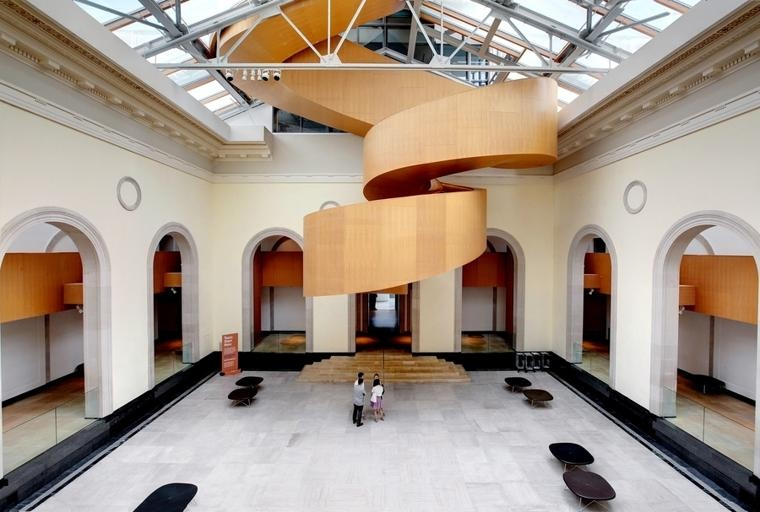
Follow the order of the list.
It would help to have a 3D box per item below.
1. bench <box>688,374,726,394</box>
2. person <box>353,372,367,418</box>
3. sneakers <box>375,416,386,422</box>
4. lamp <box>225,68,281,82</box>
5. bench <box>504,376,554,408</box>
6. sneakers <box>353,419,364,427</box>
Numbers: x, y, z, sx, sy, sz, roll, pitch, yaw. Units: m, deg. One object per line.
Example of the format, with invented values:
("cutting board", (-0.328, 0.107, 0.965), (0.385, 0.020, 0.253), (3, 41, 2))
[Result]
("bench", (8.698, 3.425, 12.152), (0.423, 0.198, 0.573), (1, 6, 10))
("person", (-0.513, 3.428, 11.088), (0.279, 1.236, 0.519), (0, -3, -6))
("sneakers", (0.013, 4.001, 11.180), (0.244, 0.086, 0.079), (3, 3, -17))
("lamp", (-2.974, -4.323, 10.929), (1.158, 0.244, 1.086), (-1, 5, -11))
("bench", (3.950, 3.594, 12.147), (0.902, 0.529, 1.460), (0, -2, -12))
("sneakers", (-0.506, 3.988, 10.997), (0.115, 0.218, 0.244), (5, 8, 28))
